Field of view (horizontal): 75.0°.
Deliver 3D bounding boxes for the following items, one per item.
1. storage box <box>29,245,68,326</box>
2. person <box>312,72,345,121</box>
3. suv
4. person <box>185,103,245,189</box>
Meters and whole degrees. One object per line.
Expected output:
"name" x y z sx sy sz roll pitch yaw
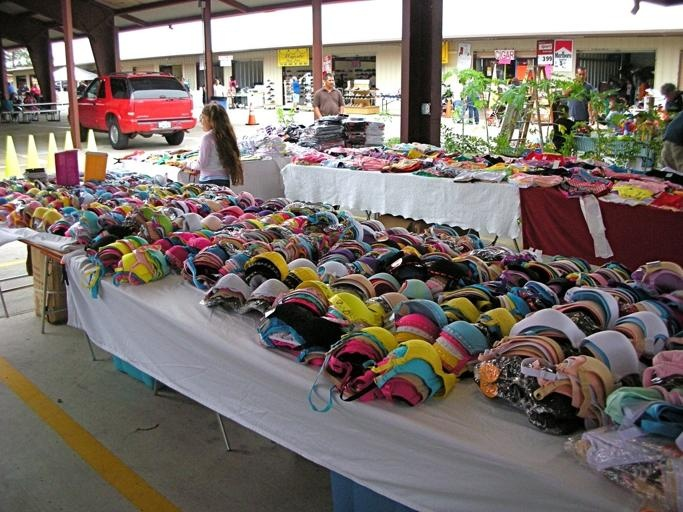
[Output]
"storage box" -2.643 0.255 3.973 0.263 0.677 0.551 -14 21 -34
"person" -0.258 -2.994 8.250 0.548 0.827 0.935 -2 17 -3
"suv" -6.271 -4.348 13.281 3.495 2.146 1.548 6 19 21
"person" -1.310 -1.160 4.675 0.464 0.868 0.305 -7 18 -16
